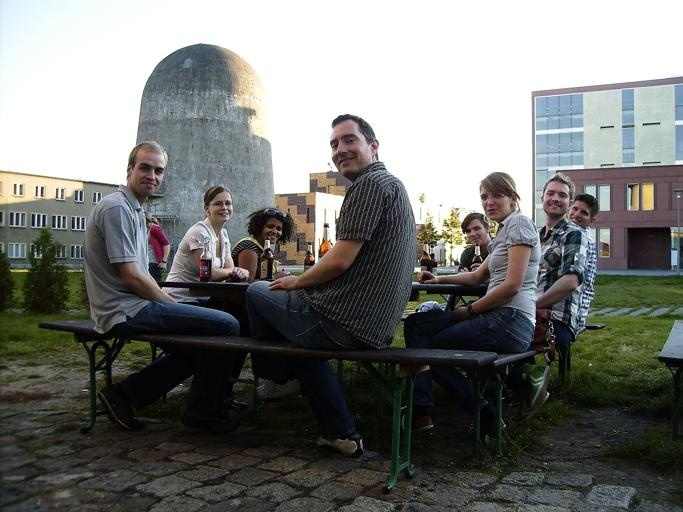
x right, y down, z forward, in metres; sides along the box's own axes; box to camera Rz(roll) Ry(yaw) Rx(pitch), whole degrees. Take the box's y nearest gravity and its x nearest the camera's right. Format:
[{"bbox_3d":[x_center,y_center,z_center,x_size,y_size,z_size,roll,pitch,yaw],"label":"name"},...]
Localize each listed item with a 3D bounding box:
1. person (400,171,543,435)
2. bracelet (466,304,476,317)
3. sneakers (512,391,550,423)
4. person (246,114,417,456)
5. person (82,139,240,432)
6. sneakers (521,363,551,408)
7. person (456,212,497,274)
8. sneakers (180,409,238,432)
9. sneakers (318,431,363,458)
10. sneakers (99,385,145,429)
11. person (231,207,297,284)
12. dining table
[{"bbox_3d":[1.036,0.383,4.157,1.074,2.078,0.865,2,-10,16],"label":"person"},{"bbox_3d":[0.974,0.418,3.903,0.053,0.092,0.089,3,21,15],"label":"bracelet"},{"bbox_3d":[1.658,1.318,4.543,0.194,0.239,0.582,-5,9,33],"label":"sneakers"},{"bbox_3d":[-0.069,0.202,3.677,1.218,2.292,0.963,-3,-10,23],"label":"person"},{"bbox_3d":[-1.451,0.274,4.165,1.213,2.251,0.864,3,-7,-17],"label":"person"},{"bbox_3d":[1.674,1.141,4.440,0.154,0.479,0.192,-4,12,-34],"label":"sneakers"},{"bbox_3d":[1.788,-0.114,6.676,0.551,0.893,0.562,6,-15,2],"label":"person"},{"bbox_3d":[-0.995,1.274,3.897,0.427,0.206,0.172,4,-1,-11],"label":"sneakers"},{"bbox_3d":[-0.021,1.283,3.552,0.333,0.149,0.122,-1,-6,42],"label":"sneakers"},{"bbox_3d":[-1.721,1.132,3.971,0.172,0.408,0.133,-33,30,-23],"label":"sneakers"},{"bbox_3d":[-0.847,-0.111,5.563,0.574,0.869,0.682,1,1,-23],"label":"person"},{"bbox_3d":[-0.194,0.653,3.748,2.560,0.760,1.091,2,2,22],"label":"dining table"}]
